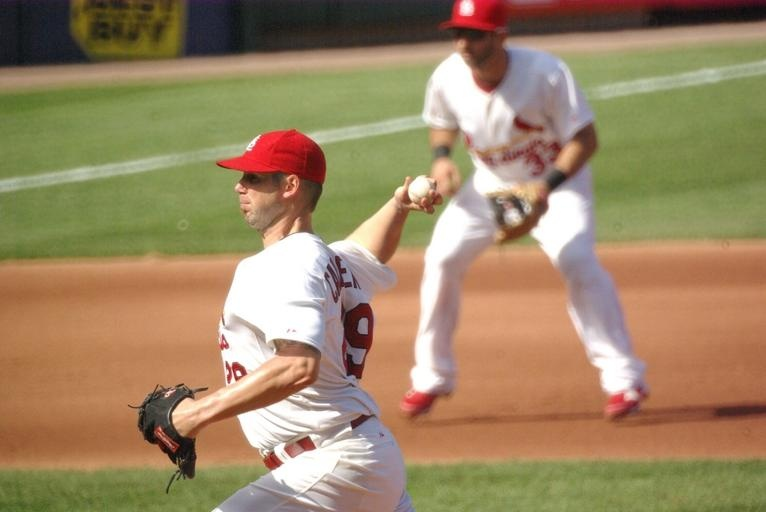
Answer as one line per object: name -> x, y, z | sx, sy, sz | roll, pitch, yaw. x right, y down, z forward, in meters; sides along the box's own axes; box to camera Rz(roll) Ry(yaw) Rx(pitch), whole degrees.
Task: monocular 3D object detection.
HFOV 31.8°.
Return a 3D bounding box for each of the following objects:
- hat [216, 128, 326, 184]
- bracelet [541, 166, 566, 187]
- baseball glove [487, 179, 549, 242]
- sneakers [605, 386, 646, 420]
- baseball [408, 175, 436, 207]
hat -> -0.939, -0.944, 12.539 | 0.763, 0.384, 0.517 | 1, 5, -10
bracelet -> 1.747, -0.802, 13.658 | 0.196, 0.199, 0.195 | -37, 58, -14
baseball glove -> 1.380, -0.497, 13.537 | 0.666, 0.263, 0.487 | -39, 49, -6
sneakers -> 2.542, 1.522, 13.958 | 0.426, 0.170, 0.279 | -11, 1, -39
baseball -> 0.380, -0.648, 12.839 | 0.243, 0.277, 0.163 | 7, 23, -30
